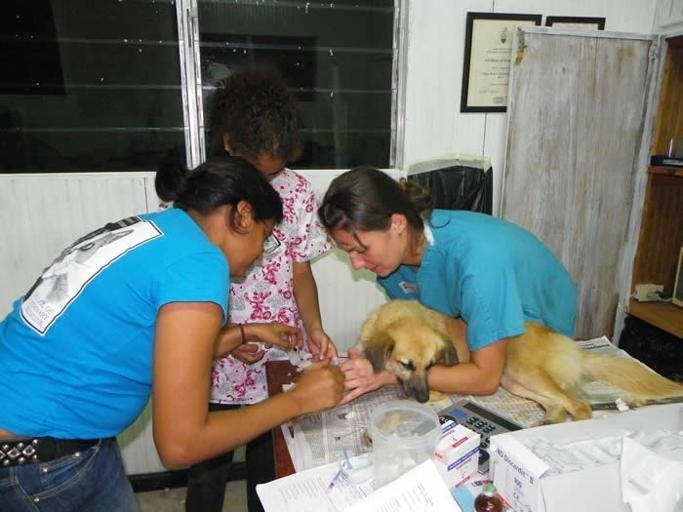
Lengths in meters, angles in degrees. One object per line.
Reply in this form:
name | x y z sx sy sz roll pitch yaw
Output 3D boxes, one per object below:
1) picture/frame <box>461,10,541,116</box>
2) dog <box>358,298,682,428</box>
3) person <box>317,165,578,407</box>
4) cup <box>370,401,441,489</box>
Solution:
picture/frame | 1.066 -1.280 3.442 0.491 0.652 0.029 -6 23 -14
dog | 0.765 0.482 2.264 0.993 0.454 0.348 -14 -2 -14
person | 0.524 0.072 2.468 1.159 1.003 0.904 -10 14 1
cup | 0.214 0.592 1.790 0.235 0.266 0.242 -1 21 0
